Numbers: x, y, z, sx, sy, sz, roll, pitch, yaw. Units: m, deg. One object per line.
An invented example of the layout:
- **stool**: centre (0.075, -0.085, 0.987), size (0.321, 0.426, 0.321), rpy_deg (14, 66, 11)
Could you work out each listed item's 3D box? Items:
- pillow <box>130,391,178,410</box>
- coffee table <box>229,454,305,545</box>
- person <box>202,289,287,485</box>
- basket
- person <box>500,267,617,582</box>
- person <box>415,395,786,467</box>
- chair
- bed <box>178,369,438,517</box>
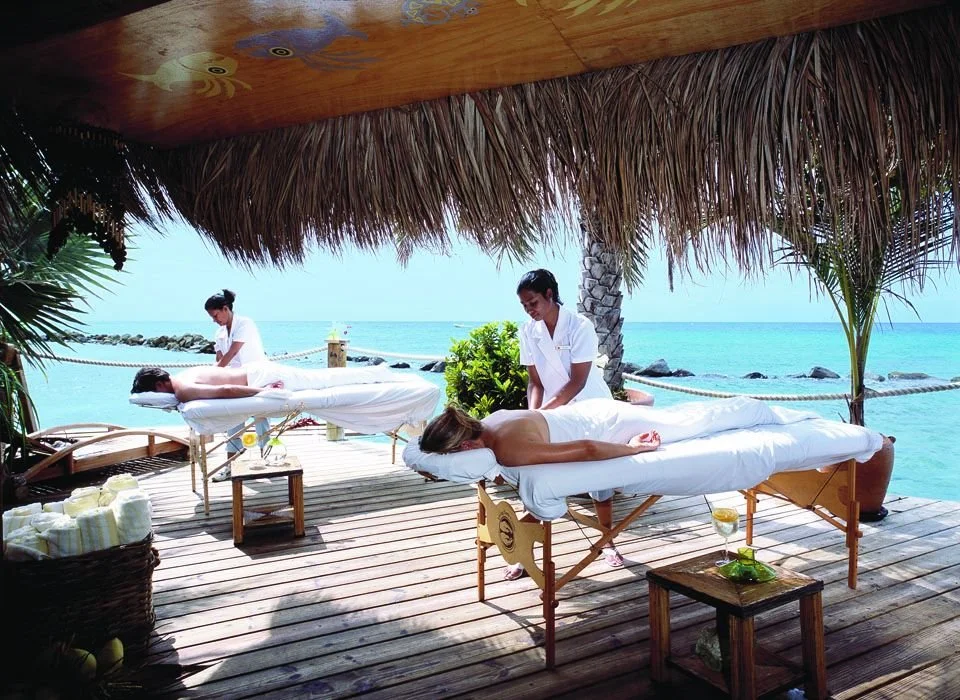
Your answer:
- **pillow**: centre (-1.987, 0.313, 4.163), size (0.166, 0.066, 0.160), rpy_deg (3, -6, -12)
- **coffee table**: centre (-1.232, 0.857, 4.019), size (0.473, 0.426, 0.456), rpy_deg (-1, -2, -12)
- **person**: centre (-1.748, 0.180, 4.868), size (0.506, 1.155, 0.398), rpy_deg (-5, 2, -21)
- **basket**: centre (-1.598, 0.878, 2.641), size (0.549, 0.377, 0.483), rpy_deg (-10, -6, 38)
- **person**: centre (0.428, 0.376, 3.554), size (0.725, 1.569, 0.725), rpy_deg (-4, 0, -10)
- **person**: centre (0.484, 0.343, 2.924), size (1.345, 0.280, 0.491), rpy_deg (0, -2, -19)
- **chair**: centre (-2.781, 0.756, 5.135), size (0.675, 0.295, 1.326), rpy_deg (-1, 0, 40)
- **bed**: centre (-1.016, 0.474, 4.419), size (1.433, 0.321, 0.855), rpy_deg (-7, 12, -29)
